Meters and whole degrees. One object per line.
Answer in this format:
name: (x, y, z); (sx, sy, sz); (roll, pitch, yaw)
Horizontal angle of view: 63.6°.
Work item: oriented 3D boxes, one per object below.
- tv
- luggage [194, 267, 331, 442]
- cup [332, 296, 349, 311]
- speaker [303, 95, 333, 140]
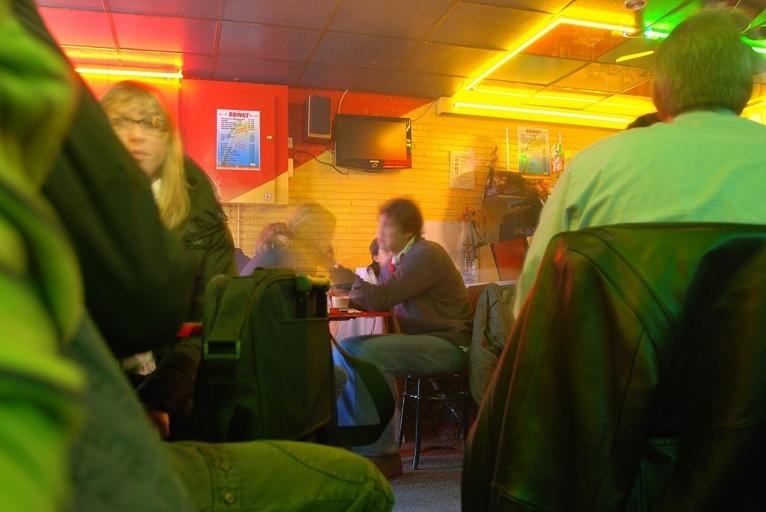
tv: (-0.097, -1.147, 6.336); (0.793, 0.551, 0.082); (0, -1, -14)
luggage: (-0.261, 0.246, 1.423); (0.226, 0.436, 0.411); (-2, -5, 18)
cup: (-0.246, 0.273, 3.592); (0.067, 0.063, 0.082); (5, -9, -38)
speaker: (-0.620, -1.379, 6.081); (0.268, 0.469, 0.242); (-2, -2, -7)
